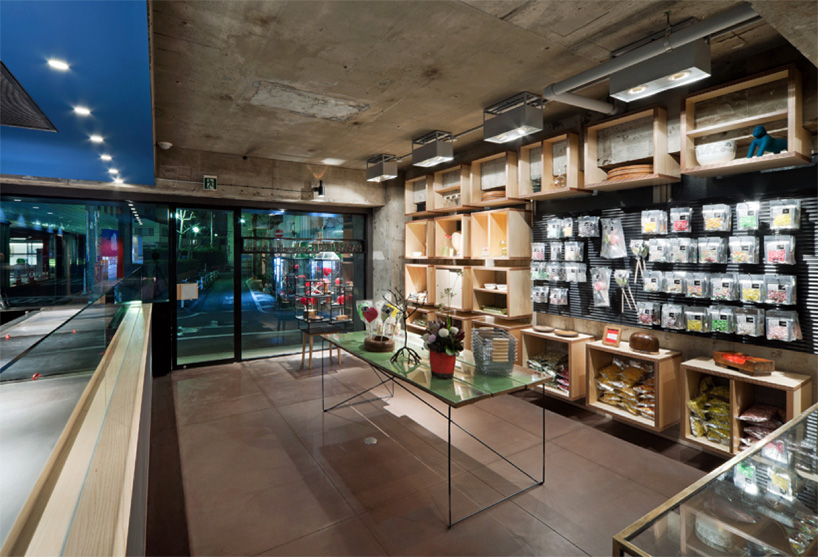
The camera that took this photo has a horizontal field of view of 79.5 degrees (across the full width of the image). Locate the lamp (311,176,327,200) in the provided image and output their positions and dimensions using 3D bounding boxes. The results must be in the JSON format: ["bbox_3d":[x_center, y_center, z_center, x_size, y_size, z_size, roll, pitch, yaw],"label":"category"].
[{"bbox_3d":[-1.454,-1.448,7.926,0.268,0.332,0.147,-8,16,-27],"label":"lamp"}]
